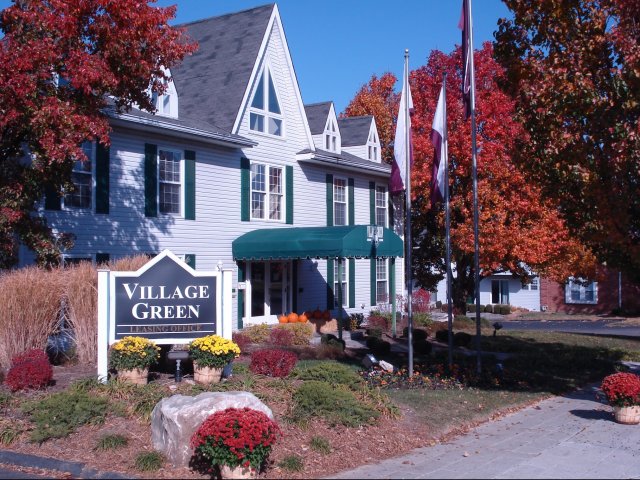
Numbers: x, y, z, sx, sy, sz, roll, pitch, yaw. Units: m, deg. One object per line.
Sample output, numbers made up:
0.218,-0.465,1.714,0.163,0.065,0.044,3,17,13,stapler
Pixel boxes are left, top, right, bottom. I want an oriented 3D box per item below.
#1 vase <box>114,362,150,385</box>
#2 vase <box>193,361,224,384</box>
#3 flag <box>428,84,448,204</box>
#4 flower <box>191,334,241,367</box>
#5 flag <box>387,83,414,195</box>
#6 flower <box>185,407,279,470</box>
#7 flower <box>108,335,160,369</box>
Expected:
-3.869,2.856,13.857,0.595,0.396,0.522,0,-6,-21,vase
-2.419,2.873,14.199,0.437,0.302,0.444,6,-9,2,vase
3.227,-2.700,18.118,0.435,3.200,0.897,-2,-5,9,flag
-2.285,2.381,14.499,0.861,0.644,0.893,5,1,-45,flower
2.201,-2.626,17.887,0.496,2.763,1.527,-1,-5,1,flag
-1.358,3.181,10.602,0.976,0.771,1.118,-2,-2,36,flower
-3.844,2.381,13.872,0.670,0.590,0.747,1,-1,-23,flower
